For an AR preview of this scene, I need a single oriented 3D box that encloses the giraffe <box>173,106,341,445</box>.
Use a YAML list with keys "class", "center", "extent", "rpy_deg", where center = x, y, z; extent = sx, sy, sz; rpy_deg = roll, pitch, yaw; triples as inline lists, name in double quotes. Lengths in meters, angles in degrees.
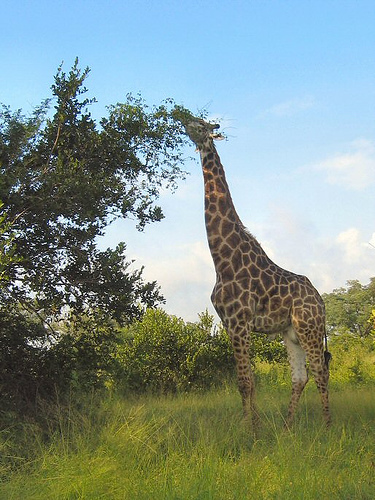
- class: "giraffe"
  center: [1.072, 0.283, 8.436]
  extent: [2.172, 5.220, 0.915]
  rpy_deg: [-1, -14, -3]
